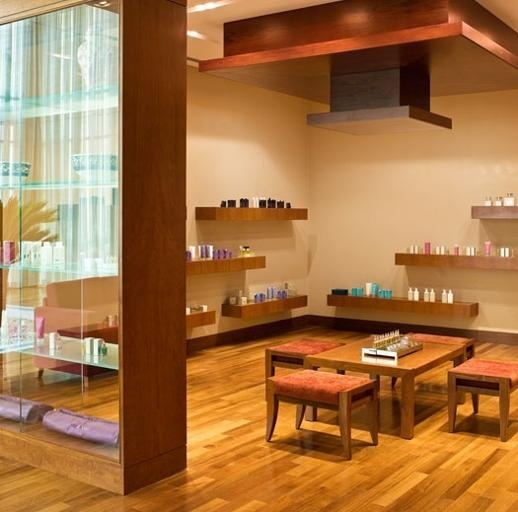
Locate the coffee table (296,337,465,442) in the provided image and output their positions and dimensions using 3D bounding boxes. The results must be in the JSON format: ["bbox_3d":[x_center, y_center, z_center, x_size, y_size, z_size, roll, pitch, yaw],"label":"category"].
[{"bbox_3d":[0.897,0.834,3.689,0.672,0.333,1.010,2,5,33],"label":"coffee table"}]

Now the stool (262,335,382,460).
[{"bbox_3d":[0.452,0.884,3.393,0.824,0.622,0.620,6,8,40],"label":"stool"}]
